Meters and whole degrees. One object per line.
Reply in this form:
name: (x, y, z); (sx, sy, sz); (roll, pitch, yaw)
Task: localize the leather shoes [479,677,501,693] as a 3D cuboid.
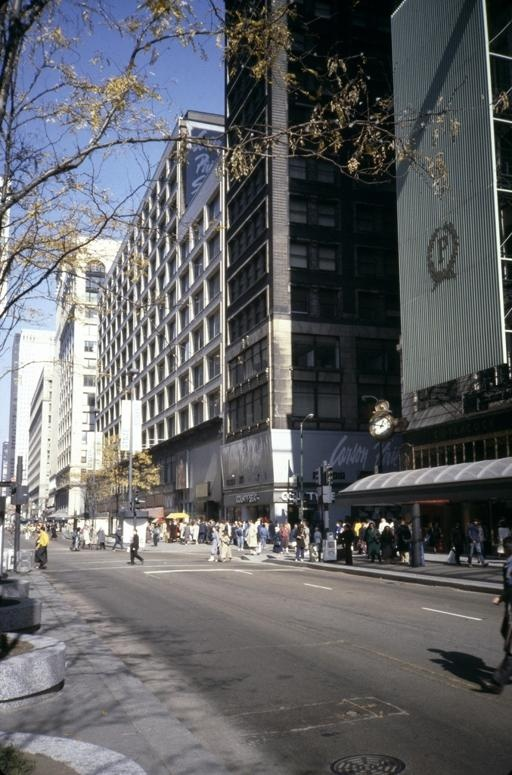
leather shoes: (2.462, 3.155, 8.148); (0.148, 0.222, 0.210); (-3, -11, 2)

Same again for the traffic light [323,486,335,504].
traffic light: (2.854, 4.341, 31.224); (0.314, 0.662, 1.068); (-4, -12, 13)

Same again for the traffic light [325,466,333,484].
traffic light: (2.936, 3.611, 31.659); (0.225, 0.710, 0.557); (-2, -11, 3)

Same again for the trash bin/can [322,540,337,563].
trash bin/can: (2.940, 6.632, 31.382); (0.482, 0.897, 0.885); (-2, -11, 1)
